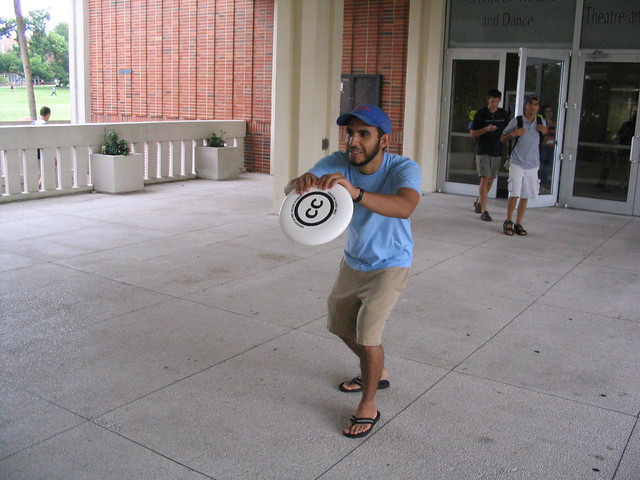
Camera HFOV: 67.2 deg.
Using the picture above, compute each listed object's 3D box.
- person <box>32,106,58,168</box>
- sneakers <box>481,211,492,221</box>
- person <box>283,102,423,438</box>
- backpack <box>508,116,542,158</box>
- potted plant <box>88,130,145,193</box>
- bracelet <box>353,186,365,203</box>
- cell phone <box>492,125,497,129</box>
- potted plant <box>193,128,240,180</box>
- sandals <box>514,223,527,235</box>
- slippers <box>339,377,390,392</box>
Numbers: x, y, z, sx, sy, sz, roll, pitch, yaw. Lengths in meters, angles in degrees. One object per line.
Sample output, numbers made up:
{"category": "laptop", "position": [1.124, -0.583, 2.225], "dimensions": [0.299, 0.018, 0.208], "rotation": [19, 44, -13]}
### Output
{"category": "person", "position": [-6.582, -2.492, 11.529], "dimensions": [0.372, 1.390, 2.881], "rotation": [-7, 17, -29]}
{"category": "sneakers", "position": [3.354, -0.493, 9.716], "dimensions": [0.211, 0.191, 0.256], "rotation": [7, 16, 18]}
{"category": "person", "position": [0.274, 0.196, 3.251], "dimensions": [0.717, 2.140, 0.769], "rotation": [7, 15, 20]}
{"category": "backpack", "position": [3.618, -1.848, 8.524], "dimensions": [0.651, 0.783, 0.432], "rotation": [-3, 9, -7]}
{"category": "potted plant", "position": [-5.075, -1.866, 12.173], "dimensions": [1.224, 2.387, 1.600], "rotation": [-4, 11, -32]}
{"category": "bracelet", "position": [0.227, -0.267, 2.867], "dimensions": [0.032, 0.072, 0.084], "rotation": [9, 41, -10]}
{"category": "cell phone", "position": [3.371, -2.217, 9.369], "dimensions": [0.067, 0.059, 0.106], "rotation": [29, 27, 17]}
{"category": "potted plant", "position": [-2.874, -2.500, 13.985], "dimensions": [0.948, 1.353, 1.207], "rotation": [9, 16, 26]}
{"category": "sandals", "position": [3.597, -0.202, 8.743], "dimensions": [0.106, 0.135, 0.327], "rotation": [-9, 19, -3]}
{"category": "slippers", "position": [0.341, 1.119, 3.758], "dimensions": [0.388, 0.112, 0.161], "rotation": [2, 3, -7]}
